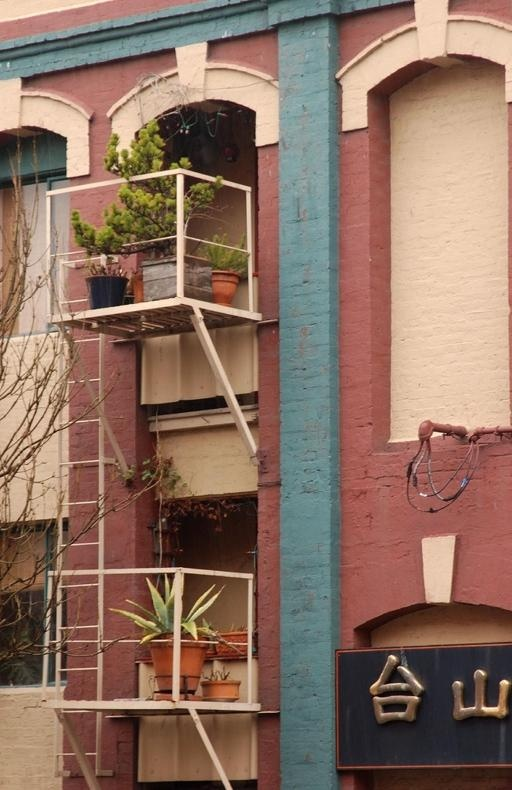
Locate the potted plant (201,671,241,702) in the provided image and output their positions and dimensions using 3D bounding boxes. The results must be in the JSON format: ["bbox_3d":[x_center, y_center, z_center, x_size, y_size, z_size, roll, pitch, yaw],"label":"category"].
[{"bbox_3d":[-0.314,2.651,18.319,0.258,0.254,0.263,3,-10,-4],"label":"potted plant"}]

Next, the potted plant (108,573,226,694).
[{"bbox_3d":[-0.748,2.167,18.332,1.008,0.986,1.051,-8,-15,34],"label":"potted plant"}]

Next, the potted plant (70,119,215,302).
[{"bbox_3d":[-1.047,-1.718,19.250,1.391,1.803,1.737,-1,-3,-6],"label":"potted plant"}]

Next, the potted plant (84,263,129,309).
[{"bbox_3d":[-1.392,-1.014,19.300,0.369,0.333,0.444,-2,-15,8],"label":"potted plant"}]
